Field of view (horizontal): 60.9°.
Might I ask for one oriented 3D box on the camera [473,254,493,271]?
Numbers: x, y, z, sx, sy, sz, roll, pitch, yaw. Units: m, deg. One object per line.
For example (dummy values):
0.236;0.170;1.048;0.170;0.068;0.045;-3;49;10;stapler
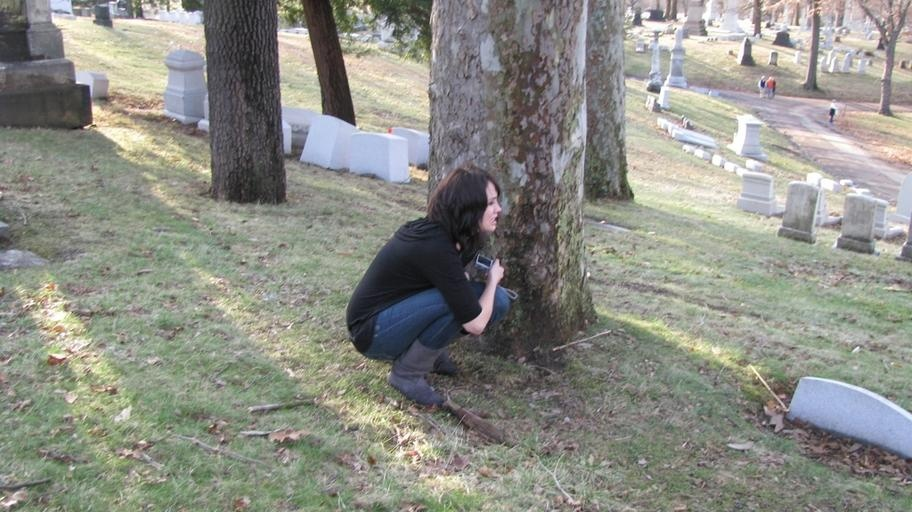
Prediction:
0.350;0.083;10.509;0.200;0.218;0.295;4;-8;8;camera
